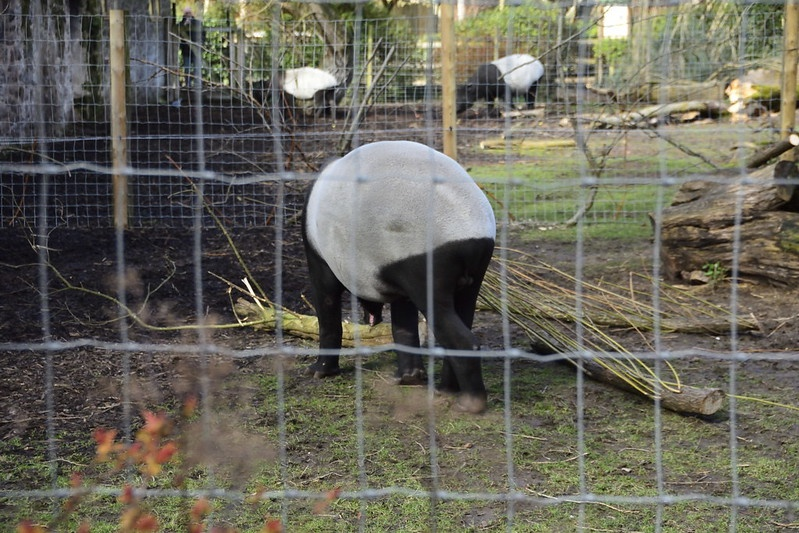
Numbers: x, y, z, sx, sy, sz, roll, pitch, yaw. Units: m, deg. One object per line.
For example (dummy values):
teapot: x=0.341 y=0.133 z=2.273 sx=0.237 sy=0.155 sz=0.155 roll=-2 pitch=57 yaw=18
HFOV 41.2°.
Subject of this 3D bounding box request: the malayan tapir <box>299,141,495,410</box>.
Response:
malayan tapir: x=-0.056 y=0.101 z=7.784 sx=1.397 sy=1.950 sz=0.624 roll=6 pitch=19 yaw=25
